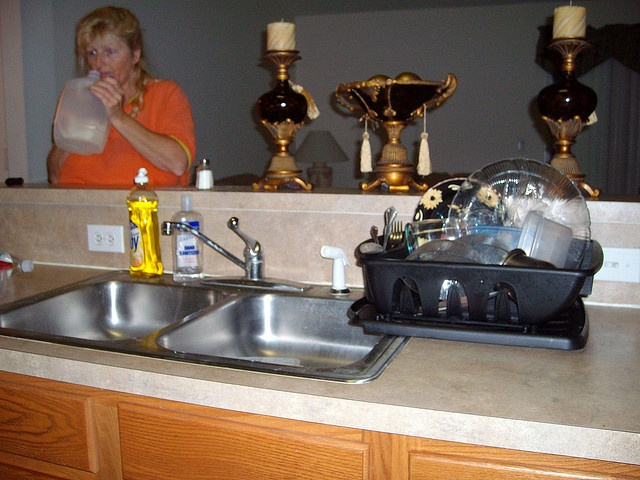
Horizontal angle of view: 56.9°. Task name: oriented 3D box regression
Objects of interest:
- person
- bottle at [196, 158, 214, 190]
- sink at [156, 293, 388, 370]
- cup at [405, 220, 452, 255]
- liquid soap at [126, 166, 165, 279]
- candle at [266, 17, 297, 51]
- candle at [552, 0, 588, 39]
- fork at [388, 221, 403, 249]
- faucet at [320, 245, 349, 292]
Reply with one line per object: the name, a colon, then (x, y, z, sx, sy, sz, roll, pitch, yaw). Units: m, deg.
person: (-0.731, -0.524, 2.184, 0.497, 0.667, 0.704, -3, 5, -24)
bottle: (-0.374, -0.210, 1.893, 0.051, 0.099, 0.174, -1, 5, -11)
sink: (-0.149, 0.240, 1.483, 0.541, 0.179, 0.214, -2, 5, -25)
cup: (0.249, -0.007, 1.376, 0.089, 0.073, 0.079, -1, 2, 42)
liquid soap: (-0.530, -0.051, 1.775, 0.095, 0.313, 0.163, -2, 6, -18)
candle: (-0.114, -0.600, 1.747, 0.091, 0.100, 0.090, -11, 19, -39)
candle: (0.648, -0.560, 1.550, 0.092, 0.096, 0.090, 3, 4, 16)
fork: (0.188, -0.012, 1.469, 0.026, 0.095, 0.014, 4, -39, 1)
faucet: (0.041, 0.078, 1.560, 0.058, 0.130, 0.096, 1, 5, 13)
